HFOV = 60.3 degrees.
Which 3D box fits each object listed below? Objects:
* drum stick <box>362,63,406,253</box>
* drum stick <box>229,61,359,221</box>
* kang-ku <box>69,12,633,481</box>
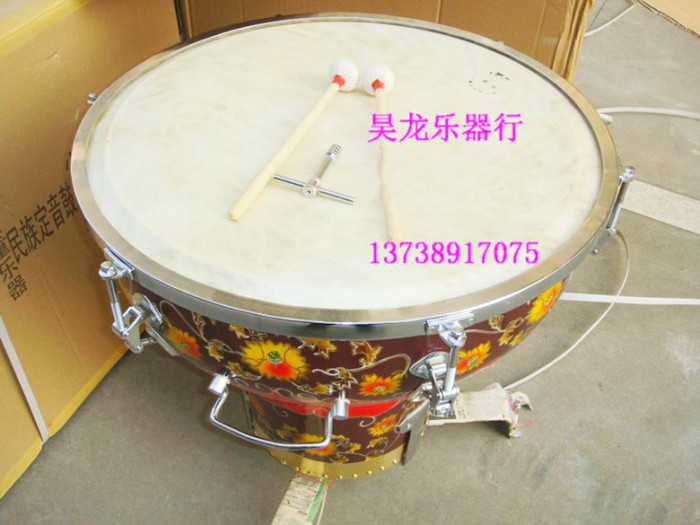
[{"bbox_3d":[0.050,-0.203,1.170,0.056,0.064,0.386,11,50,-25],"label":"drum stick"},{"bbox_3d":[-0.109,-0.229,1.184,0.065,0.088,0.395,26,58,10],"label":"drum stick"},{"bbox_3d":[-0.016,0.114,1.540,0.996,0.816,1.081,11,46,8],"label":"kang-ku"}]
